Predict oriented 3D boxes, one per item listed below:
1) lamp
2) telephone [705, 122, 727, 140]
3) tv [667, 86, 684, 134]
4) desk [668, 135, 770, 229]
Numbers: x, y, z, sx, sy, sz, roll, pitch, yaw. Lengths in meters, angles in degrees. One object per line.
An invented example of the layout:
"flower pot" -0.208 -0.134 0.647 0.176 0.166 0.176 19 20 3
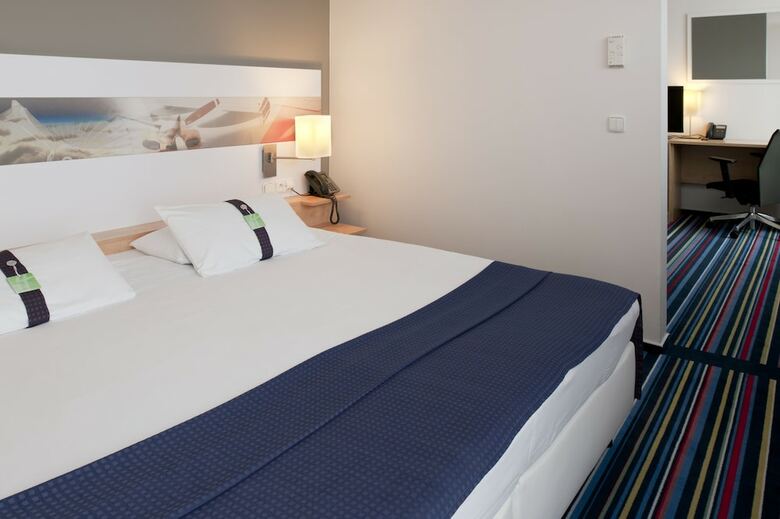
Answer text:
"lamp" -0.813 -0.996 4.205 0.658 0.517 0.351 5 14 23
"telephone" 3.950 -1.556 5.701 0.098 0.219 0.210 3 -1 -44
"tv" 3.566 -1.890 5.893 0.243 0.583 0.043 -3 4 -6
"desk" 4.020 -0.979 5.731 1.111 0.817 0.580 6 14 44
